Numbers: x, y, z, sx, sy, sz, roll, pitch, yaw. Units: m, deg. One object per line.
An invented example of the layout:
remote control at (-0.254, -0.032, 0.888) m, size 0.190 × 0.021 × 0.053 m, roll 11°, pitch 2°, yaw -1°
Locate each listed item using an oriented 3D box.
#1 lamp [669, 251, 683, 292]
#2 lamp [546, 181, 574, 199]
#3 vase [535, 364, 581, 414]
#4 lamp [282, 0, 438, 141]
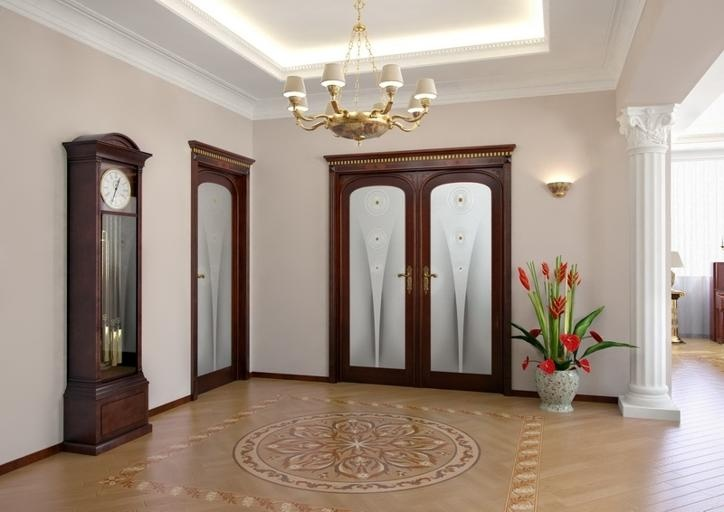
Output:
lamp at (5.655, 0.276, 9.020) m, size 0.172 × 0.754 × 1.202 m, roll 2°, pitch 5°, yaw 32°
lamp at (2.310, -0.774, 5.884) m, size 0.220 × 0.138 × 0.199 m, roll 1°, pitch -3°, yaw -16°
vase at (2.162, 1.465, 5.644) m, size 0.454 × 0.414 × 0.431 m, roll 3°, pitch -4°, yaw -37°
lamp at (0.022, -2.037, 5.343) m, size 1.208 × 1.414 × 1.244 m, roll -6°, pitch -7°, yaw 40°
